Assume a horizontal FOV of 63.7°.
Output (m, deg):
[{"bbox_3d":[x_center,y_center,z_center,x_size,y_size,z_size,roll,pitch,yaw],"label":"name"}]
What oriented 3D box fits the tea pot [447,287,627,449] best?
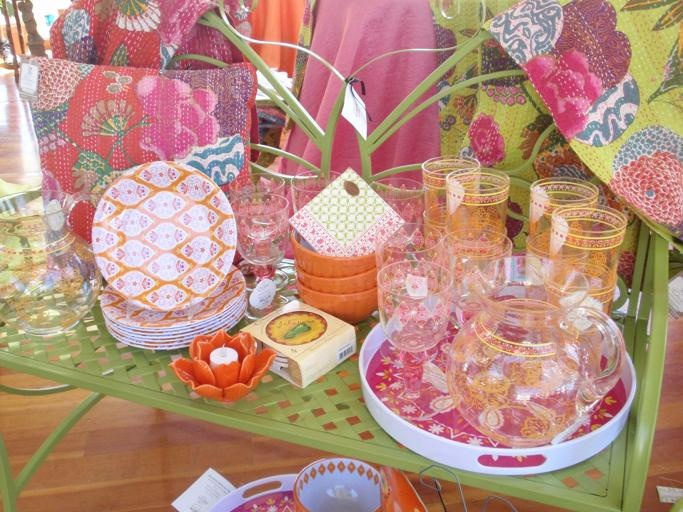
[{"bbox_3d":[0.305,0.157,0.911,0.252,0.231,0.199,6,11,19],"label":"tea pot"}]
